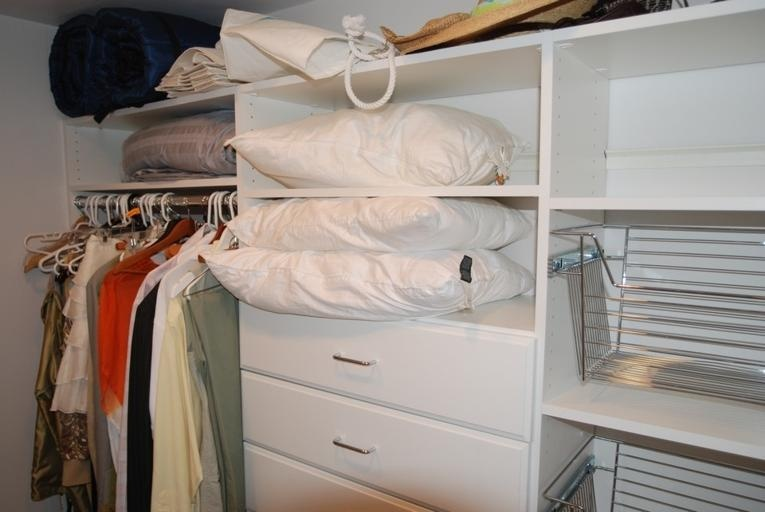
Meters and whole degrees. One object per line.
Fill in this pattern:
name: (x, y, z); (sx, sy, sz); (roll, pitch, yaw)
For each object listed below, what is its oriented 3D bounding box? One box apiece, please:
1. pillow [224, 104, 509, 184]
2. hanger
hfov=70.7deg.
pillow: (0.000, -0.331, 1.680); (0.474, 0.139, 0.435); (2, 7, 25)
hanger: (-1.108, -0.058, 2.278); (0.768, 0.202, 0.534); (4, 10, 35)
